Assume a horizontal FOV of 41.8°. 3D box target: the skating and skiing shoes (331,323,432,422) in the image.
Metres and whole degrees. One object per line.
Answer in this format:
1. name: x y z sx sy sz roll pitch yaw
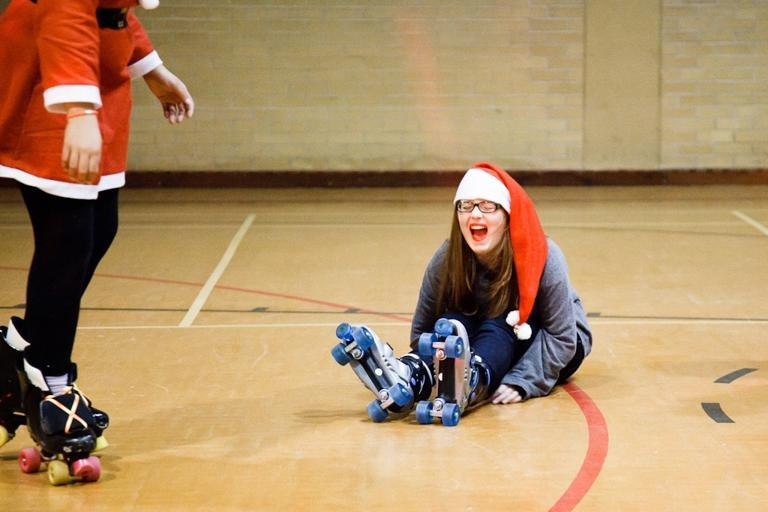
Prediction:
1. skating and skiing shoes: -0.012 0.389 3.390 0.181 0.226 0.407 16 25 -48

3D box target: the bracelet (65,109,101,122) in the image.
1. bracelet: -0.854 -0.404 2.841 0.080 0.031 0.039 -8 14 -28
